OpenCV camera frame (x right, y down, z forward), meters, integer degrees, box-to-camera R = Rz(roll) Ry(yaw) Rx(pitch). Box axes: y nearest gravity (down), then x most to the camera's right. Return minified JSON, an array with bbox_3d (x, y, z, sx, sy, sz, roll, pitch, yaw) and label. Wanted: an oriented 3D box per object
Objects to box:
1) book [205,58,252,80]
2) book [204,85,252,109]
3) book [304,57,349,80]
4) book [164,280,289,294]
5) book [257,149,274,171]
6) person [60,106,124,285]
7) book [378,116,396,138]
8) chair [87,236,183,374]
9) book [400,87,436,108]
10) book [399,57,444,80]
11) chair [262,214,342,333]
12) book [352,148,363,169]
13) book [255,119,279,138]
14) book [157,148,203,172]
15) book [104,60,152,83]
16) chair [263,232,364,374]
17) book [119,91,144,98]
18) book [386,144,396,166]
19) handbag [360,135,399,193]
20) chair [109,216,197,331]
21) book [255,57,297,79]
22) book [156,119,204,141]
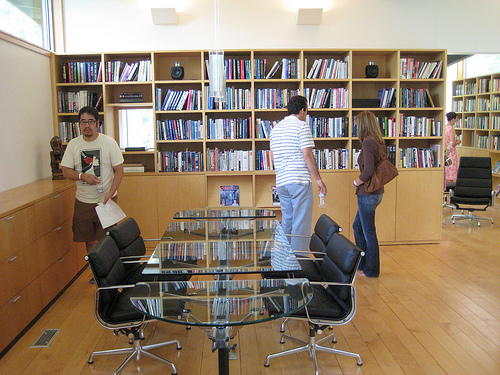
[{"bbox_3d":[-0.185,-1.764,6.061,0.383,0.296,0.206,-1,13,-3],"label":"book"},{"bbox_3d":[-0.333,-1.333,6.033,0.680,0.336,0.139,-2,13,-7],"label":"book"},{"bbox_3d":[1.156,-1.773,6.076,0.632,0.306,0.150,-1,13,-3],"label":"book"},{"bbox_3d":[-0.185,0.724,2.973,0.909,0.020,0.200,-1,14,-3],"label":"book"},{"bbox_3d":[0.246,-0.401,6.356,0.243,0.365,0.350,-1,9,5],"label":"book"},{"bbox_3d":[-1.932,0.072,4.925,0.705,2.089,0.646,-1,25,-21],"label":"person"},{"bbox_3d":[2.109,-0.922,6.372,0.253,0.373,0.369,-1,10,5],"label":"book"},{"bbox_3d":[-0.971,1.013,3.423,0.823,1.162,0.916,1,10,-2],"label":"chair"},{"bbox_3d":[2.532,-1.356,6.193,0.302,0.147,0.414,-1,7,4],"label":"book"},{"bbox_3d":[2.601,-1.804,6.155,0.639,0.298,0.188,-3,14,-12],"label":"book"},{"bbox_3d":[0.520,0.724,4.405,0.920,1.456,0.931,5,10,1],"label":"chair"},{"bbox_3d":[1.521,-0.412,5.750,0.163,0.325,0.317,0,11,2],"label":"book"},{"bbox_3d":[0.229,-0.842,5.844,0.343,0.159,0.483,-1,8,-2],"label":"book"},{"bbox_3d":[-1.060,-0.391,6.139,0.683,0.296,0.113,0,13,3],"label":"book"},{"bbox_3d":[-1.815,-1.735,6.061,0.694,0.302,0.299,-2,14,-6],"label":"book"},{"bbox_3d":[0.655,1.038,3.884,0.987,1.385,1.177,0,6,-3],"label":"chair"},{"bbox_3d":[-1.836,-1.422,6.216,0.350,0.086,0.298,-3,14,-9],"label":"book"},{"bbox_3d":[2.171,-0.514,6.342,0.205,0.319,0.311,-1,9,3],"label":"book"},{"bbox_3d":[1.550,-0.278,4.991,0.522,0.615,0.294,-31,14,-25],"label":"handbag"},{"bbox_3d":[-0.877,0.746,3.979,0.817,0.984,0.799,-10,6,-16],"label":"chair"},{"bbox_3d":[0.394,-1.760,6.021,0.668,0.286,0.177,0,13,2],"label":"book"},{"bbox_3d":[-1.062,-0.859,6.067,0.696,0.291,0.107,0,13,0],"label":"book"}]
